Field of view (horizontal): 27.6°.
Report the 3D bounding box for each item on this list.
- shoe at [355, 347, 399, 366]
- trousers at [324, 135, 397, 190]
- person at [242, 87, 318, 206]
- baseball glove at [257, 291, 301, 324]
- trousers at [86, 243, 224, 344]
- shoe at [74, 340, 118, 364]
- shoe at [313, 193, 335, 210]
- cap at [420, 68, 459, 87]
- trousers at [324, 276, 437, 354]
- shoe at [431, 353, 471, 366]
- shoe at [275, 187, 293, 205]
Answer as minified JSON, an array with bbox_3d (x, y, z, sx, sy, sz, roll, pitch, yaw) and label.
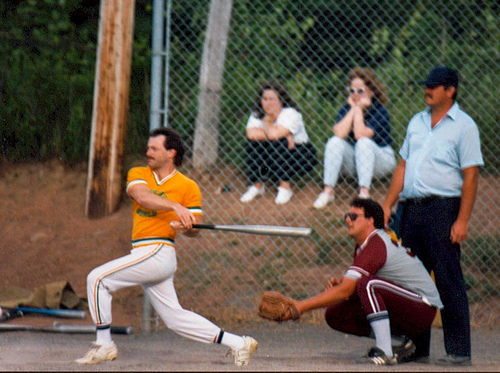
[{"bbox_3d":[1.136,1.554,9.099,0.394,0.196,0.159,6,-9,1],"label":"shoe"},{"bbox_3d":[1.214,-0.248,11.287,0.798,0.604,0.428,0,10,6],"label":"trousers"},{"bbox_3d":[0.249,-0.447,11.602,0.904,1.358,0.774,5,-9,-35],"label":"person"},{"bbox_3d":[0.261,1.083,8.968,0.332,0.244,0.136,15,14,24],"label":"baseball glove"},{"bbox_3d":[-0.781,0.945,9.180,1.341,0.947,0.460,3,5,-12],"label":"trousers"},{"bbox_3d":[-1.357,1.475,8.977,0.385,0.237,0.162,-2,-3,-12],"label":"shoe"},{"bbox_3d":[0.808,0.185,11.422,0.270,0.126,0.109,-31,27,-25],"label":"shoe"},{"bbox_3d":[1.745,-0.992,9.288,0.212,0.128,0.170,6,3,1],"label":"cap"},{"bbox_3d":[1.220,1.100,9.381,0.701,0.659,0.764,-3,-3,2],"label":"trousers"},{"bbox_3d":[1.837,1.605,9.222,0.304,0.141,0.123,3,-10,5],"label":"shoe"},{"bbox_3d":[0.398,0.111,11.464,0.246,0.198,0.097,-8,12,-35],"label":"shoe"}]
